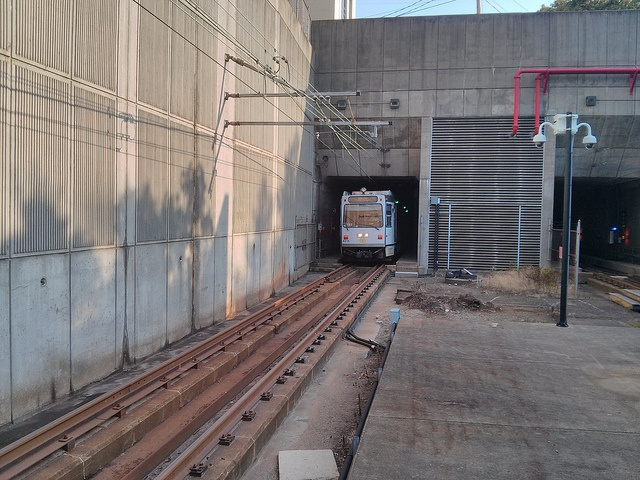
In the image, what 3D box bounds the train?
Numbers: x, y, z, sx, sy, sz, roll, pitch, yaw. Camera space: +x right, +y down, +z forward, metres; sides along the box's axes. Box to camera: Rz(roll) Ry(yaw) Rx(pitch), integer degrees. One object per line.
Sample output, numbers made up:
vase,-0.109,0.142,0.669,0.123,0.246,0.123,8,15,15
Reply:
train,2.201,-0.724,26.792,2.366,3.491,0.993,-4,7,-8
